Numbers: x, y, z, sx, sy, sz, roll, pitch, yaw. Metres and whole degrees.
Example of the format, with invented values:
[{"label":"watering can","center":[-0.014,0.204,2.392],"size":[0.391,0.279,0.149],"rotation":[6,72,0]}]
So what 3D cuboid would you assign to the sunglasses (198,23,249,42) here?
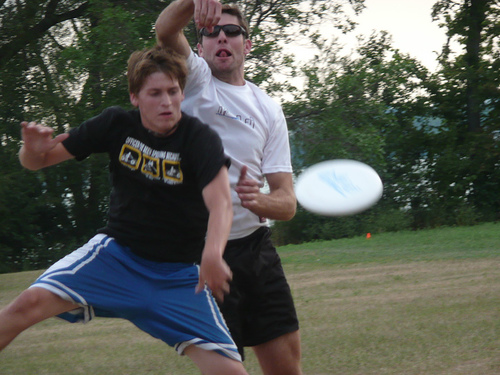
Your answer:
[{"label":"sunglasses","center":[-0.190,-1.082,3.831],"size":[0.291,0.073,0.088],"rotation":[-4,3,-5]}]
